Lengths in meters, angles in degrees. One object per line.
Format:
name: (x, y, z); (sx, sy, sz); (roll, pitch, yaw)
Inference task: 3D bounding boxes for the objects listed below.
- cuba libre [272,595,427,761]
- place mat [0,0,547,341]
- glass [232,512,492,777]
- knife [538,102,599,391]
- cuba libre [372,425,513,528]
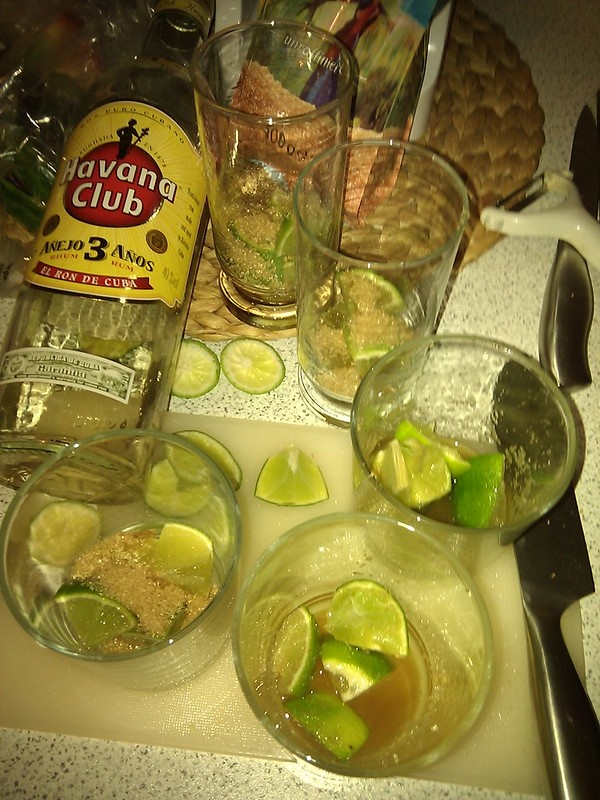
cuba libre: (0.035, 0.211, 0.467); (0.120, 0.065, 0.091); (19, 66, 4)
place mat: (0.096, -0.342, 1.032); (0.492, 0.004, 0.583); (12, 65, 13)
glass: (0.059, 0.158, 0.511); (0.185, 0.090, 0.209); (8, 70, 0)
knife: (0.323, -0.150, 0.787); (0.068, 0.038, 0.532); (17, 64, -14)
cuba libre: (0.146, 0.070, 0.555); (0.084, 0.036, 0.090); (1, 60, -42)
